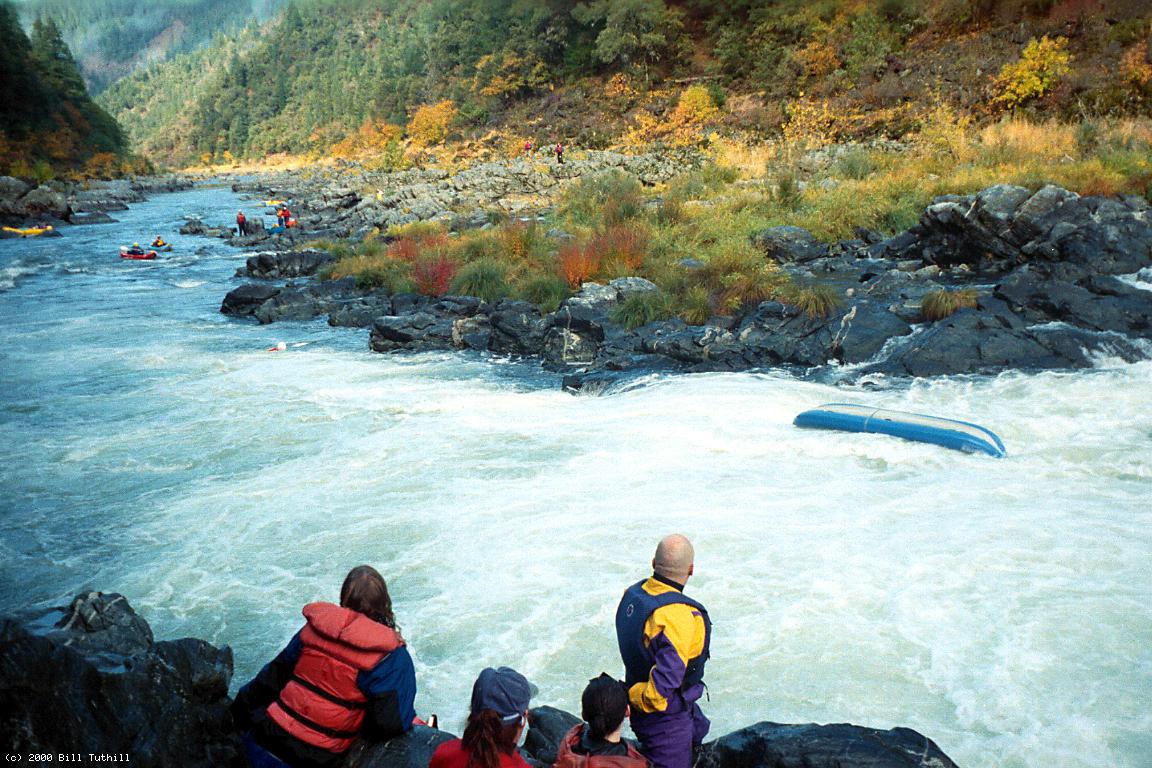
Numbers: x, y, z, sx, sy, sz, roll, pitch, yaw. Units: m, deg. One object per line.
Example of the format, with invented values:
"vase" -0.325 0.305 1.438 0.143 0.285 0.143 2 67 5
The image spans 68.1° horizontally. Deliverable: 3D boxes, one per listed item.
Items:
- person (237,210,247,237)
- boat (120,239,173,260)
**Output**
"person" -14.380 -6.984 36.992 0.296 1.088 1.457 0 5 -22
"boat" -16.728 -5.154 33.089 1.093 0.861 3.833 -8 14 -35
